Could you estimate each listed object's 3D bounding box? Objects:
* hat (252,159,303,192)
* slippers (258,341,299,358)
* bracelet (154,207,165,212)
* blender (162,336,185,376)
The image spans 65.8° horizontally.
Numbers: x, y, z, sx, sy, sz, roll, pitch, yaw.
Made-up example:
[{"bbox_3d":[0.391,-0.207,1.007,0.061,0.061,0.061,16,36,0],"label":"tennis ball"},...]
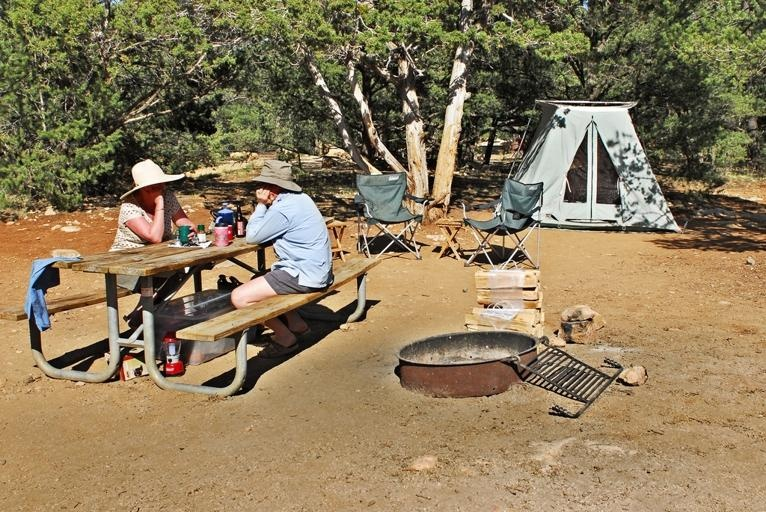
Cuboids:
[{"bbox_3d":[-1.055,-0.801,5.922,0.407,0.178,0.377,8,6,16],"label":"hat"},{"bbox_3d":[-1.099,0.965,6.169,0.343,0.102,0.170,-1,1,-9],"label":"slippers"},{"bbox_3d":[-2.299,-0.502,6.097,0.082,0.060,0.095,-10,18,-24],"label":"bracelet"},{"bbox_3d":[-2.065,0.956,5.778,0.232,0.347,0.213,2,2,13],"label":"blender"}]
